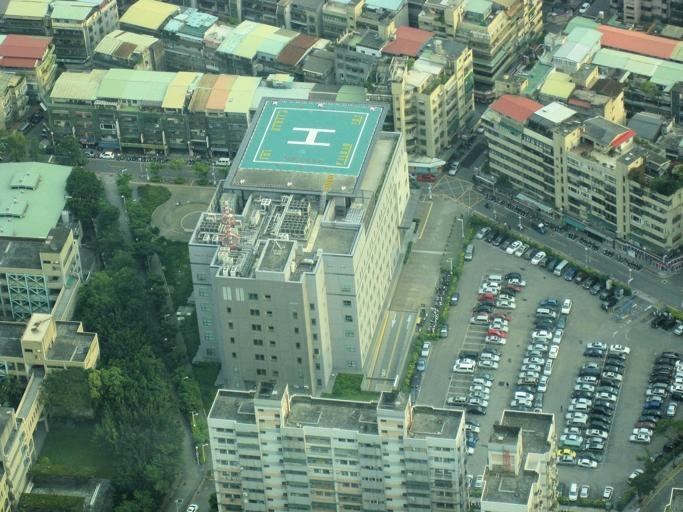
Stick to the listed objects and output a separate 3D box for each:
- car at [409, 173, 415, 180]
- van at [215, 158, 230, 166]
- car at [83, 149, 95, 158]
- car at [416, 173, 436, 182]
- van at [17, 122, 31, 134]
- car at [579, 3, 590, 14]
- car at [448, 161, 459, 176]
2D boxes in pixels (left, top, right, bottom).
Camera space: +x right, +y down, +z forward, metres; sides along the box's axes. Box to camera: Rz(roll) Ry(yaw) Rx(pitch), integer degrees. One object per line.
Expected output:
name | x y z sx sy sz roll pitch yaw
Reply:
car | 20.432 -23.330 641.442 1.753 0.721 2.362 2 38 -8
van | -34.387 -28.136 652.705 3.197 1.687 2.362 5 36 2
car | -74.510 -30.715 660.751 2.834 1.284 1.884 8 71 -6
car | 24.379 -22.823 641.106 3.592 1.132 2.649 1 31 8
van | -95.373 -39.805 669.382 3.251 1.259 4.805 12 42 11
car | 75.415 -77.415 692.402 2.589 1.635 4.182 19 38 14
car | 32.365 -25.506 642.232 2.401 2.471 3.982 18 38 14
